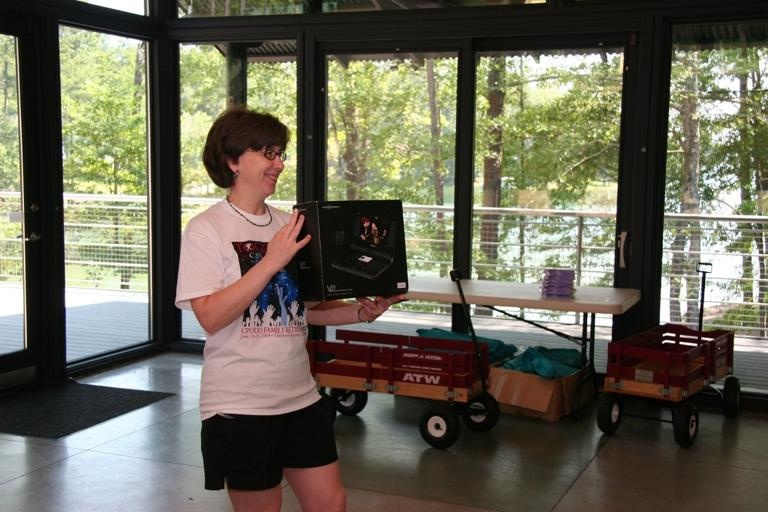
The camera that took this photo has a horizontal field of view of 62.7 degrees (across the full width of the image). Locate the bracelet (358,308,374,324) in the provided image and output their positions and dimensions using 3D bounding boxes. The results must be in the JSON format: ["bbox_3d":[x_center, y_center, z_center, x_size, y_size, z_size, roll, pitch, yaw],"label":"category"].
[{"bbox_3d":[-0.081,0.270,2.773,0.068,0.071,0.028,0,8,16],"label":"bracelet"}]

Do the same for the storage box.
[{"bbox_3d":[1.206,0.989,4.779,0.503,0.253,0.682,1,2,33],"label":"storage box"}]

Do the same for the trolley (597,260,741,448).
[{"bbox_3d":[2.245,0.689,4.809,1.256,1.042,0.724,-9,9,-44],"label":"trolley"}]

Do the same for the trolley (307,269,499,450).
[{"bbox_3d":[0.096,0.900,4.798,1.326,0.745,0.755,1,-1,23],"label":"trolley"}]
